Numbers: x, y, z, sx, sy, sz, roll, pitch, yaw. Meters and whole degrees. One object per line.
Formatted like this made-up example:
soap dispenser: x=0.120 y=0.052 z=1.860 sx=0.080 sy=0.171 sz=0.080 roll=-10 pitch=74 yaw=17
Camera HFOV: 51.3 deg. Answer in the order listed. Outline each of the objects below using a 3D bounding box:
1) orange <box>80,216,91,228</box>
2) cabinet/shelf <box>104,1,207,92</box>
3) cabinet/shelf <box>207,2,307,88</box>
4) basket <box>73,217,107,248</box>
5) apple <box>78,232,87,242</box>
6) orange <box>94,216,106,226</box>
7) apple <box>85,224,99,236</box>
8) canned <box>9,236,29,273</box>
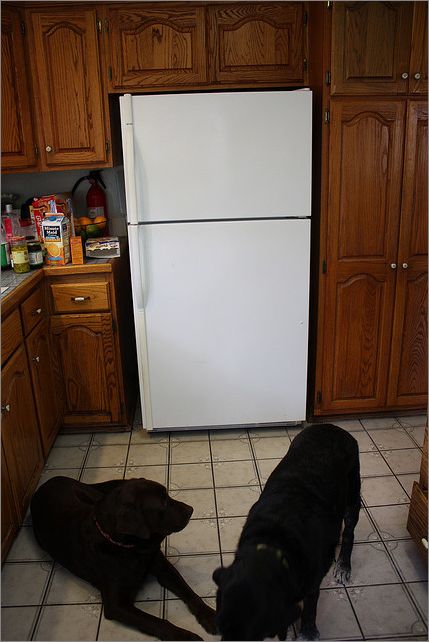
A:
orange: x=-0.734 y=-0.556 z=2.520 sx=0.062 sy=0.050 sz=0.048 roll=-32 pitch=10 yaw=-31
cabinet/shelf: x=-0.279 y=-1.252 z=2.272 sx=0.492 sy=0.525 sz=0.291 roll=-1 pitch=18 yaw=-1
cabinet/shelf: x=0.207 y=-1.322 z=2.133 sx=0.456 sy=0.347 sz=0.098 roll=2 pitch=22 yaw=11
basket: x=-0.706 y=-0.481 z=2.508 sx=0.153 sy=0.113 sz=0.170 roll=0 pitch=7 yaw=-6
apple: x=-0.743 y=-0.476 z=2.495 sx=0.061 sy=0.056 sz=0.028 roll=13 pitch=27 yaw=32
orange: x=-0.654 y=-0.571 z=2.564 sx=0.055 sy=0.074 sz=0.060 roll=-4 pitch=19 yaw=-3
apple: x=-0.686 y=-0.507 z=2.504 sx=0.033 sy=0.073 sz=0.083 roll=16 pitch=30 yaw=38
canned: x=-0.902 y=-0.303 z=2.054 sx=0.076 sy=0.150 sz=0.126 roll=-11 pitch=25 yaw=-20
